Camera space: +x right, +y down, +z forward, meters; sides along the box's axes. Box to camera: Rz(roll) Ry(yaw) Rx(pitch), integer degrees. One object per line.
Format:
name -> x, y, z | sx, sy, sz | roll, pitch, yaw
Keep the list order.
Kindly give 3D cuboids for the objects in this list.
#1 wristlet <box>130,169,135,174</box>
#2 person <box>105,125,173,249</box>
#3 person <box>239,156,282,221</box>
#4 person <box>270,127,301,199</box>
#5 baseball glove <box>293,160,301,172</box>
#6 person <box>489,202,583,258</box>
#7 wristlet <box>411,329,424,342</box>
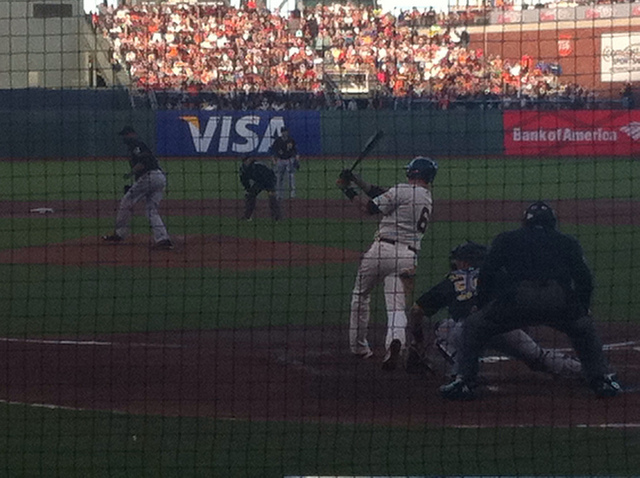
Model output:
wristlet -> -3.928, -1.409, 29.058 | 0.060, 0.089, 0.156 | -2, 14, -3
person -> -3.787, -1.094, 29.207 | 1.157, 2.446, 1.326 | -4, 15, -8
person -> -1.316, -1.268, 31.683 | 0.967, 1.473, 0.885 | 20, 20, 39
person -> -0.882, -1.947, 34.366 | 0.756, 1.569, 0.533 | 0, 8, 10
baseball glove -> -0.562, -1.838, 34.369 | 0.189, 0.248, 0.104 | -3, 5, 39
person -> 3.821, -0.205, 24.647 | 1.736, 0.983, 0.767 | 2, 2, 5
wristlet -> 1.731, 1.704, 25.056 | 0.271, 0.291, 0.203 | -3, -4, 1
